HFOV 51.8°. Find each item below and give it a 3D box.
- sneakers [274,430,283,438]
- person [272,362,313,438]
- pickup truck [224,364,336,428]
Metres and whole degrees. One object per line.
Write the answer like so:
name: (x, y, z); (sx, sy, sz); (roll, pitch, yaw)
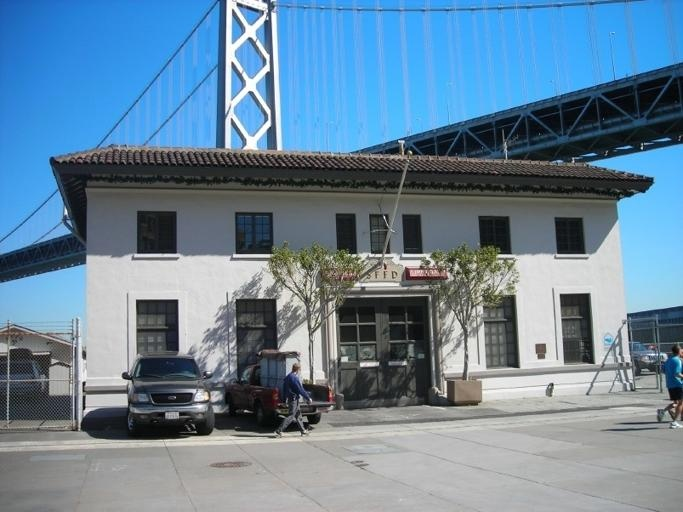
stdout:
sneakers: (-1.772, 4.995, 19.775); (0.235, 0.166, 0.141); (3, -10, -11)
person: (-1.384, 4.062, 20.108); (0.983, 2.034, 1.162); (1, -9, -5)
pickup truck: (-2.126, 4.317, 21.733); (1.636, 1.241, 3.264); (5, -6, -32)
